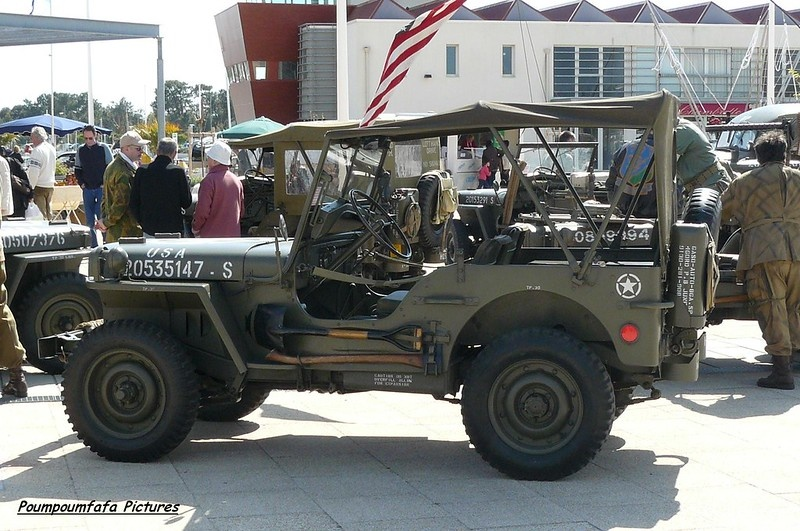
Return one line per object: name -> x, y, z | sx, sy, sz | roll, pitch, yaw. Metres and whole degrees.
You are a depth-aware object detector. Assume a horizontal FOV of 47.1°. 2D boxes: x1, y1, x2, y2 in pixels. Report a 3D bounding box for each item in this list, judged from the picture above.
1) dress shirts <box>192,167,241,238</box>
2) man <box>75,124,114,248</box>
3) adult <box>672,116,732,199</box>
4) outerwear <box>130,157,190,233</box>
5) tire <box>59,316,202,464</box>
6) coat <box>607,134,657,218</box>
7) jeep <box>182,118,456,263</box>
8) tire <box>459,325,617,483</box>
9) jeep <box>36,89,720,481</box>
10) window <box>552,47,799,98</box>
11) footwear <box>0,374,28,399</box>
dress shirts -> -2.148, -0.733, 10.910 | 0.407, 0.940, 0.637 | 10, 13, 34
man -> -4.601, -1.164, 13.805 | 0.594, 1.930, 0.492 | -4, 0, 0
adult -> 3.612, -1.230, 11.095 | 0.651, 1.092, 0.710 | -16, -2, 24
outerwear -> -2.835, -0.821, 10.779 | 0.753, 1.148, 0.547 | 0, 8, 2
tire -> -2.274, 1.060, 7.857 | 0.875, 1.015, 0.305 | 12, 0, 14
coat -> 2.917, -1.040, 11.260 | 0.823, 1.173, 0.570 | 2, 21, 14
jeep -> -0.743, -0.945, 14.202 | 4.003, 2.707, 2.484 | 0, 12, 23
tire -> 1.158, 1.111, 7.473 | 1.051, 1.257, 0.400 | 1, -1, 11
jeep -> -0.078, 0.262, 8.944 | 5.629, 3.737, 3.235 | 2, 2, 13
window -> 10.998, -7.636, 36.801 | 10.650, 2.247, 1.868 | -5, 14, -21
footwear -> -3.866, 1.162, 9.184 | 0.255, 0.264, 0.154 | -2, 13, -9
